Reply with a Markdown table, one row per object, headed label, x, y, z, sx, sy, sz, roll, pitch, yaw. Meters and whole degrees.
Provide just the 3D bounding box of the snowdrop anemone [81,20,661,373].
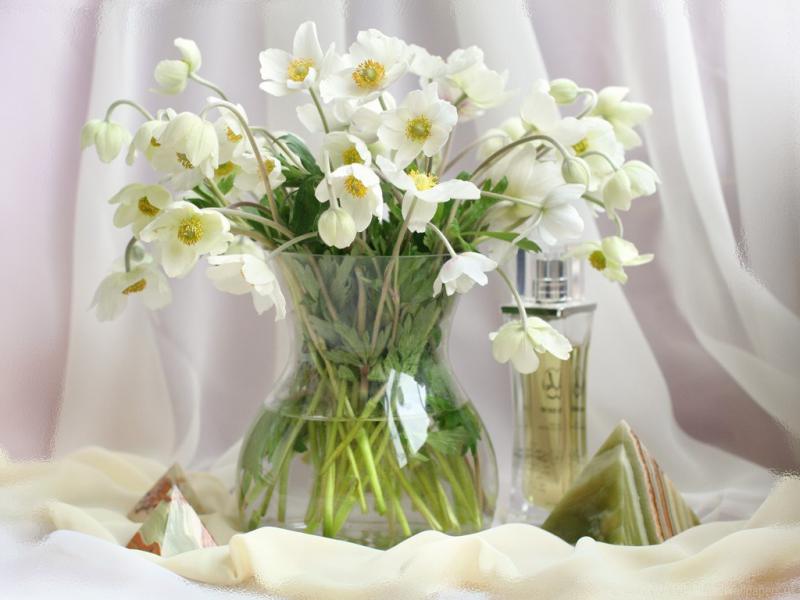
| label | x | y | z | sx | sy | sz | roll | pitch | yaw |
| --- | --- | --- | --- | --- | --- | --- | --- | --- | --- |
| snowdrop anemone | -0.034 | -0.120 | 0.896 | 0.690 | 0.407 | 0.343 | 0 | -3 | 10 |
